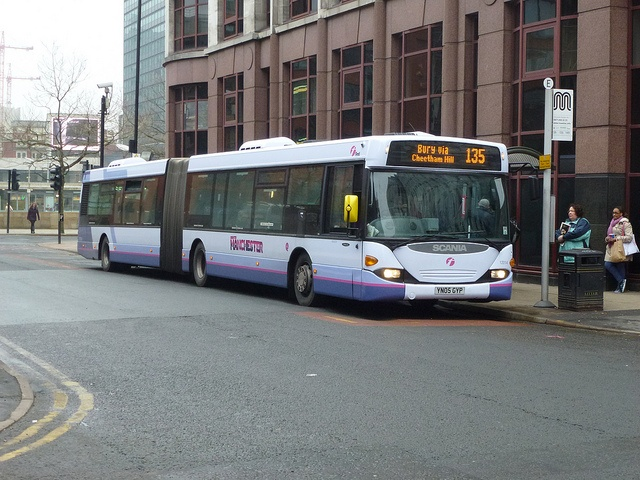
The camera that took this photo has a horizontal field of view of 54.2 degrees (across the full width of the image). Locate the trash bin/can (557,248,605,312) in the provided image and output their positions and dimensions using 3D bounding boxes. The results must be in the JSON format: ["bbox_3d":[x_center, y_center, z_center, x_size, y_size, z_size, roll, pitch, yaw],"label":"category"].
[{"bbox_3d":[5.387,0.820,12.963,0.825,1.268,0.860,0,1,19],"label":"trash bin/can"}]

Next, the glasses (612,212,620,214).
[{"bbox_3d":[7.408,-0.680,15.621,0.126,0.079,0.232,0,2,-11],"label":"glasses"}]

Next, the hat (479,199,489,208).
[{"bbox_3d":[3.195,-0.706,12.093,0.137,0.110,0.198,11,6,0],"label":"hat"}]

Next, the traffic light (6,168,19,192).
[{"bbox_3d":[-23.003,-4.543,46.863,0.586,1.445,3.016,0,2,-25],"label":"traffic light"}]
